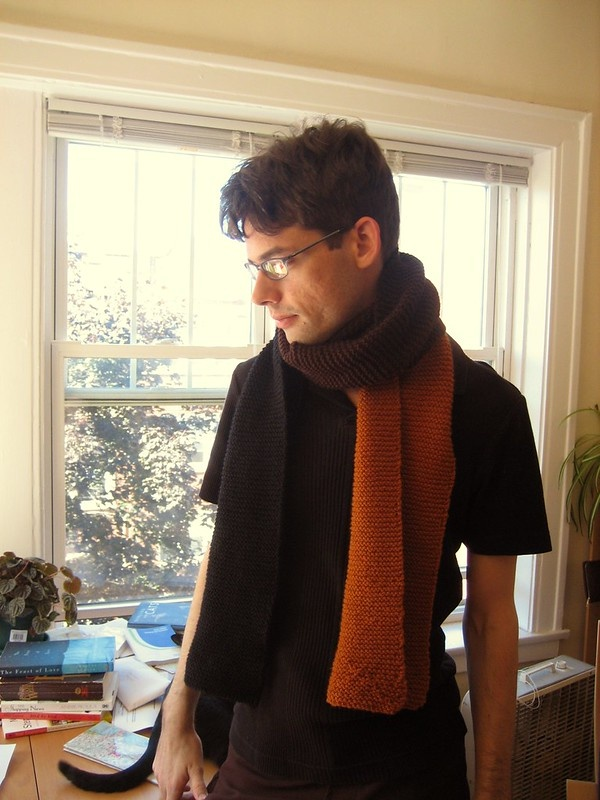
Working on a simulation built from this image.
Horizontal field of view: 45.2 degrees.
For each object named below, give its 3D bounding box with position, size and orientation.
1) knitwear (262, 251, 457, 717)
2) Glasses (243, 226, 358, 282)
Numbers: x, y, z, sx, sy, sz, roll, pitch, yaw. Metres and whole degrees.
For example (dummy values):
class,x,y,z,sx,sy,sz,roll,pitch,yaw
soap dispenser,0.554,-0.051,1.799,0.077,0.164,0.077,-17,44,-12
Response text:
class,x,y,z,sx,sy,sz,roll,pitch,yaw
knitwear,0.114,0.110,1.104,0.249,0.663,0.336,3,12,-19
Glasses,-0.011,-0.231,1.101,0.105,0.029,0.099,-31,11,-25
